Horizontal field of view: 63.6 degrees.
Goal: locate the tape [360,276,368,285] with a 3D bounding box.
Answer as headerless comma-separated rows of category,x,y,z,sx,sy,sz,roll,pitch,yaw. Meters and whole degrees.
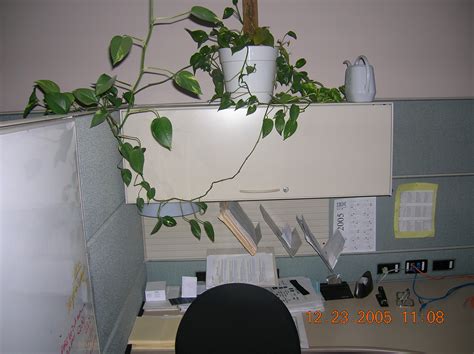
tape,0.717,0.590,2.174,0.037,0.017,0.038,-2,25,22

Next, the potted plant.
potted plant,-0.233,-0.301,1.920,1.393,1.003,0.712,1,-1,-17

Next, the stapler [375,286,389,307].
stapler,0.806,0.670,2.133,0.040,0.040,0.106,-1,16,5
